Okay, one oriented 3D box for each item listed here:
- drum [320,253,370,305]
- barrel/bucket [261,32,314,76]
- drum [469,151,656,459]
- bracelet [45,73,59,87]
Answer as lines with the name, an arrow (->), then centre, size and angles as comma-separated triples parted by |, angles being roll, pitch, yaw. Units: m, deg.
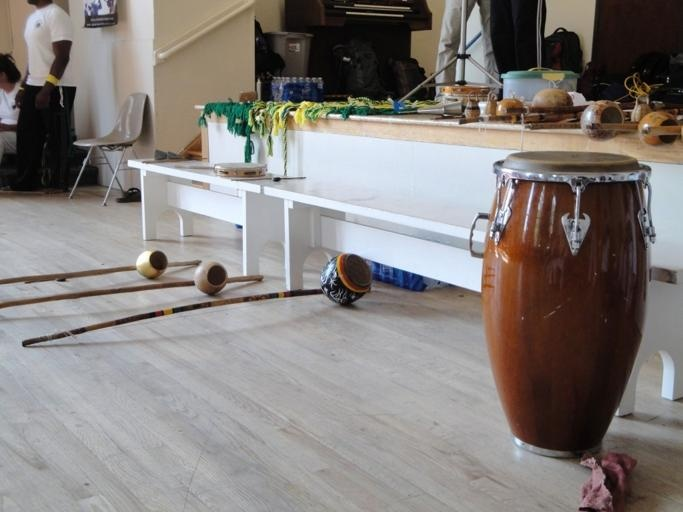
drum -> 0.022, 0.114, 2.640 | 0.225, 0.208, 0.242 | 1, 12, -3
barrel/bucket -> -0.649, -2.506, 6.772 | 0.660, 0.706, 0.522 | -8, 23, -22
drum -> 0.588, 0.145, 1.416 | 0.421, 0.839, 0.247 | 5, 11, 21
bracelet -> -3.024, -1.853, 5.545 | 0.116, 0.085, 0.117 | 29, 22, 24
